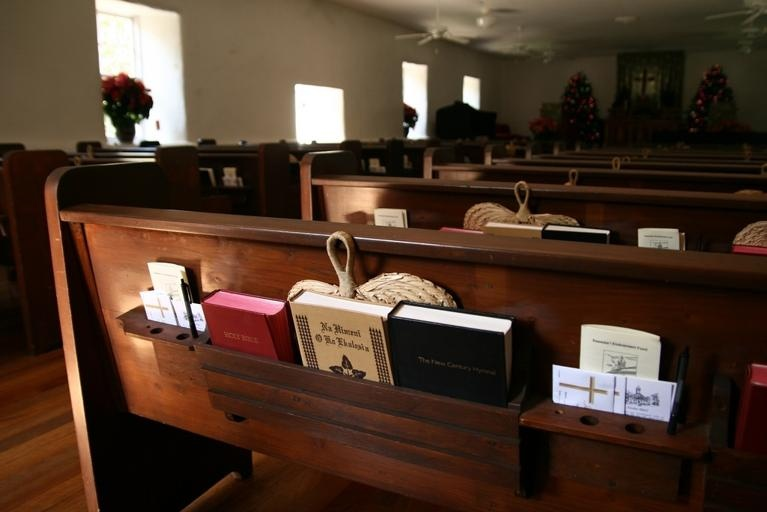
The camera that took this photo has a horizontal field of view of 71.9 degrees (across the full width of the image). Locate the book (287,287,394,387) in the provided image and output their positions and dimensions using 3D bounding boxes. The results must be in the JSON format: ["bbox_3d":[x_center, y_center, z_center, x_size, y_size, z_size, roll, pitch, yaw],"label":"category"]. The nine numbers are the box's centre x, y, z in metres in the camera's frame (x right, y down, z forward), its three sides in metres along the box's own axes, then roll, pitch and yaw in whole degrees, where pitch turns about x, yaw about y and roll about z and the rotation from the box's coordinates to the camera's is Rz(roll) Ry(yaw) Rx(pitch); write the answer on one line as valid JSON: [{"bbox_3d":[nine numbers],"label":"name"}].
[{"bbox_3d":[-0.090,0.195,1.247,0.221,0.206,0.079,7,32,24],"label":"book"}]

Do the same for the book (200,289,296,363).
[{"bbox_3d":[-0.341,0.186,1.363,0.176,0.168,0.069,8,36,16],"label":"book"}]

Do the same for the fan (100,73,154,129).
[{"bbox_3d":[-2.854,-1.703,5.895,0.592,0.565,0.405,-5,14,-6],"label":"fan"}]

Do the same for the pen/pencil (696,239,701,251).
[{"bbox_3d":[1.259,-0.038,2.115,0.008,0.070,0.016,13,-23,22],"label":"pen/pencil"}]

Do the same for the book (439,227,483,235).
[{"bbox_3d":[0.249,-0.074,1.644,0.061,0.017,0.070,6,8,31],"label":"book"}]

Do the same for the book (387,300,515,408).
[{"bbox_3d":[0.150,0.221,1.159,0.215,0.228,0.081,5,29,21],"label":"book"}]

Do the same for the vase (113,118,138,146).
[{"bbox_3d":[-2.919,-1.414,6.131,0.255,0.274,0.257,30,37,34],"label":"vase"}]
